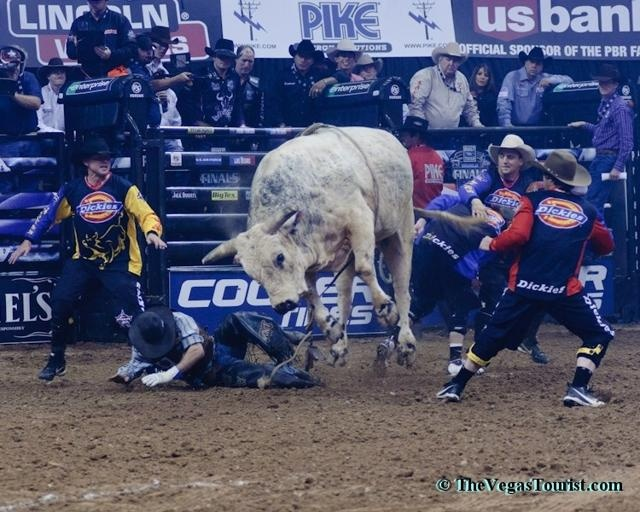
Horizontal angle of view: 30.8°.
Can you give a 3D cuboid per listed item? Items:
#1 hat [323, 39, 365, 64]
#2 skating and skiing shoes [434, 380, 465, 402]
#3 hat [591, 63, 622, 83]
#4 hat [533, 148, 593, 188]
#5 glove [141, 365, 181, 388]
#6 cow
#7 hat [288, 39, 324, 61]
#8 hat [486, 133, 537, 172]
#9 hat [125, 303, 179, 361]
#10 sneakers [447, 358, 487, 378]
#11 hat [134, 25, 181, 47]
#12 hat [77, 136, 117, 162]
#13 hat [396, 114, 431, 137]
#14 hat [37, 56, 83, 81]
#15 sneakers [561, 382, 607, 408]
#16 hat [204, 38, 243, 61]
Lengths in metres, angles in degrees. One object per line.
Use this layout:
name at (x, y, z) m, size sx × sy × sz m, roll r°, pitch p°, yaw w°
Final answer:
hat at (0.292, -2.561, 14.468) m, size 0.357 × 0.127 × 0.354 m, roll 1°, pitch -15°, yaw -7°
skating and skiing shoes at (1.184, 1.259, 10.728) m, size 0.128 × 0.123 × 0.324 m, roll 4°, pitch -1°, yaw -37°
hat at (3.602, -2.295, 14.558) m, size 0.321 × 0.218 × 0.281 m, roll 0°, pitch 11°, yaw 4°
hat at (2.185, -0.821, 10.516) m, size 0.383 × 0.153 × 0.427 m, roll -18°, pitch 40°, yaw -21°
glove at (-1.472, 1.133, 10.801) m, size 0.401 × 0.097 × 0.167 m, roll -21°, pitch 46°, yaw 1°
cow at (0.120, -0.052, 11.184) m, size 1.277 × 2.364 × 2.145 m, roll 6°, pitch 14°, yaw 31°
hat at (-0.178, -2.545, 14.333) m, size 0.388 × 0.261 × 0.387 m, roll -5°, pitch 12°, yaw -22°
hat at (2.141, -1.107, 12.152) m, size 0.449 × 0.179 × 0.507 m, roll -2°, pitch -25°, yaw 37°
hat at (-1.541, 0.657, 10.758) m, size 0.574 × 0.208 × 0.613 m, roll -3°, pitch 29°, yaw -5°
sneakers at (1.471, 1.149, 11.855) m, size 0.157 × 0.162 × 0.434 m, roll -20°, pitch -20°, yaw 22°
hat at (-1.911, -2.637, 13.884) m, size 0.321 × 0.117 × 0.358 m, roll 5°, pitch 1°, yaw -32°
hat at (-2.158, -1.077, 11.605) m, size 0.355 × 0.178 × 0.402 m, roll -5°, pitch 5°, yaw 43°
hat at (1.106, -1.548, 13.723) m, size 0.305 × 0.092 × 0.243 m, roll 6°, pitch -5°, yaw -34°
hat at (-3.118, -2.243, 13.883) m, size 0.466 × 0.161 × 0.481 m, roll -1°, pitch -12°, yaw -17°
sneakers at (2.380, 1.265, 10.472) m, size 0.360 × 0.190 × 0.170 m, roll 0°, pitch 12°, yaw 7°
hat at (-1.198, -2.497, 14.011) m, size 0.375 × 0.271 × 0.466 m, roll -2°, pitch 11°, yaw -5°
